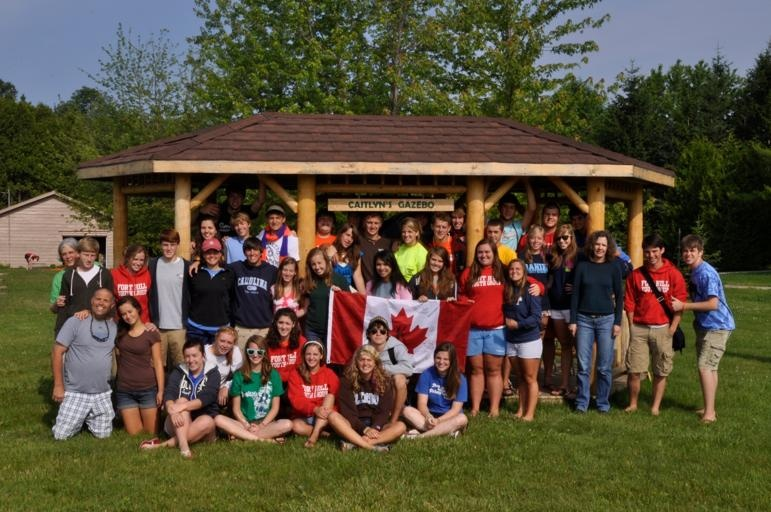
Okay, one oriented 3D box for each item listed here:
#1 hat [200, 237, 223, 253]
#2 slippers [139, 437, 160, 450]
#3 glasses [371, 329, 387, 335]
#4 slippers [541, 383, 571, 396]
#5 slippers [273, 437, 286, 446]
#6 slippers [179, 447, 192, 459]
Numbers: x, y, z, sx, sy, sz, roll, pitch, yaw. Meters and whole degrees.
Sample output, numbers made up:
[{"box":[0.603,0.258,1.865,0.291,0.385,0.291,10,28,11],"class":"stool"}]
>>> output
[{"box":[-3.301,-0.204,14.531,0.346,0.240,0.226,0,-3,22],"class":"hat"},{"box":[-4.139,3.304,13.583,0.142,0.164,0.406,-2,-12,-3],"class":"slippers"},{"box":[-0.115,1.363,13.991,0.263,0.100,0.067,1,-2,-6],"class":"glasses"},{"box":[3.417,2.698,15.600,0.667,0.180,0.245,-3,0,40],"class":"slippers"},{"box":[-1.876,3.247,13.665,0.200,0.111,0.172,1,-3,-10],"class":"slippers"},{"box":[-3.437,3.363,13.242,0.263,0.150,0.217,1,-3,-3],"class":"slippers"}]
